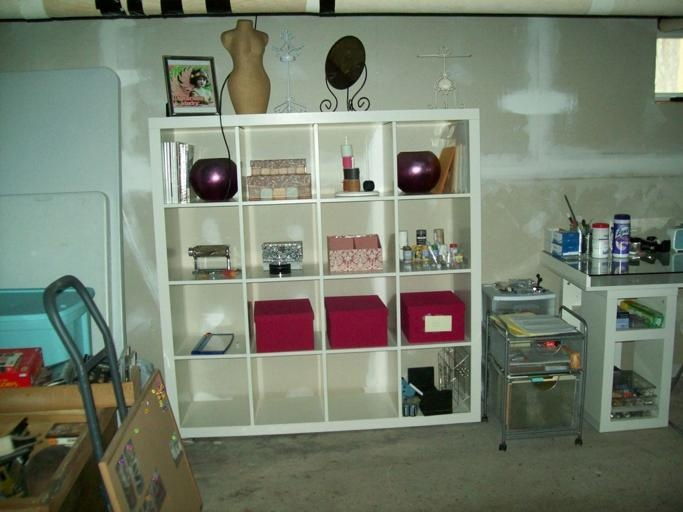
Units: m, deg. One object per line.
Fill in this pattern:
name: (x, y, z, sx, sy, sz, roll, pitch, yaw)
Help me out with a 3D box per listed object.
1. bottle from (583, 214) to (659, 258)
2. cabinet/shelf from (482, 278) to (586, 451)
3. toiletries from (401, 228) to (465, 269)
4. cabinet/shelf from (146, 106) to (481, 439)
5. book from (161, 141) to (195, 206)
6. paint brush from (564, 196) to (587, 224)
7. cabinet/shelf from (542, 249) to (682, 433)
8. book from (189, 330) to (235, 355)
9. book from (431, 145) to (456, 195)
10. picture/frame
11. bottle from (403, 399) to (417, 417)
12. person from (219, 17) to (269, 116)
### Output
bottle: (2.056, -0.136, 4.486, 0.461, 0.251, 0.343, -9, 12, -25)
cabinet/shelf: (1.357, 0.740, 4.325, 0.710, 1.058, 0.704, -3, 9, 10)
toiletries: (0.651, -0.076, 4.410, 0.510, 0.277, 0.333, -1, 4, 4)
cabinet/shelf: (-0.216, 0.046, 4.332, 2.137, 2.100, 0.583, -4, 18, -3)
book: (-1.103, -0.577, 4.155, 0.125, 0.415, 0.264, 1, 10, 30)
paint brush: (1.802, -0.369, 4.677, 0.060, 0.227, 0.059, -30, -7, 7)
cabinet/shelf: (1.801, 0.603, 4.835, 1.101, 1.451, 1.216, -2, 11, 1)
book: (-0.931, 0.632, 4.423, 0.247, 0.066, 0.425, -4, 9, 2)
book: (0.733, -0.615, 4.266, 0.069, 0.293, 0.304, 7, -4, -2)
picture/frame: (-1.041, -1.178, 4.158, 0.461, 0.543, 0.037, -6, -3, -18)
bottle: (0.491, 1.102, 4.418, 0.125, 0.126, 0.101, -1, 2, -5)
person: (-0.642, -1.237, 4.190, 0.332, 0.838, 0.196, -8, 43, -11)
